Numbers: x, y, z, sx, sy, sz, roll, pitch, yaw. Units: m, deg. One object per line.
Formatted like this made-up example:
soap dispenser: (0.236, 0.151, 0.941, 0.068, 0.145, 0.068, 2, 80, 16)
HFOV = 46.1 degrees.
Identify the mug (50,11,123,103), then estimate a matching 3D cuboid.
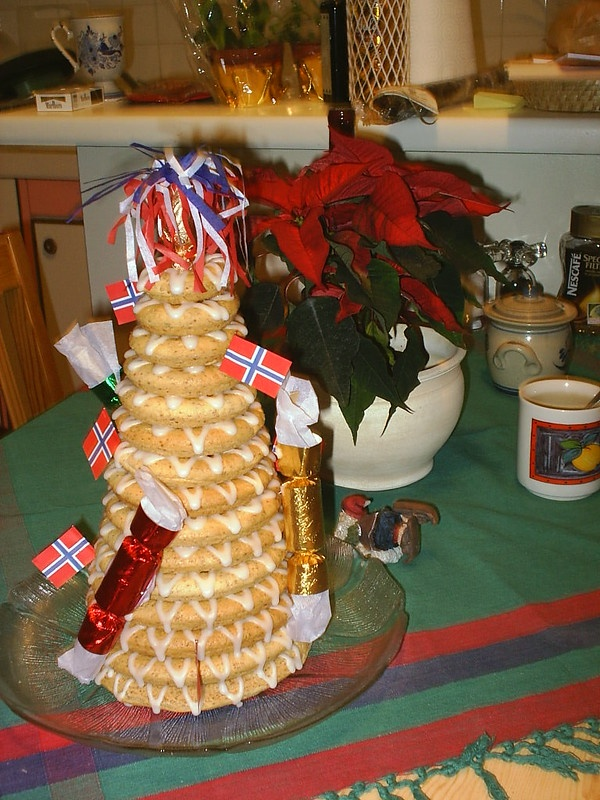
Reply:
mug: (-0.434, -0.708, 1.463, 0.174, 0.163, 0.141, 1, 21, 14)

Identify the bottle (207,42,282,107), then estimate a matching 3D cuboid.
bottle: (-0.088, -0.546, 1.185, 0.105, 0.063, 0.098, -4, 20, 1)

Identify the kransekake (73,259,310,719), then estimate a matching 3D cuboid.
kransekake: (-0.083, 0.061, 0.478, 0.159, 0.302, 0.122, -13, 23, -19)

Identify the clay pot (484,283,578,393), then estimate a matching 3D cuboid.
clay pot: (0.332, -0.082, 1.011, 0.141, 0.136, 0.148, -3, 23, 1)
